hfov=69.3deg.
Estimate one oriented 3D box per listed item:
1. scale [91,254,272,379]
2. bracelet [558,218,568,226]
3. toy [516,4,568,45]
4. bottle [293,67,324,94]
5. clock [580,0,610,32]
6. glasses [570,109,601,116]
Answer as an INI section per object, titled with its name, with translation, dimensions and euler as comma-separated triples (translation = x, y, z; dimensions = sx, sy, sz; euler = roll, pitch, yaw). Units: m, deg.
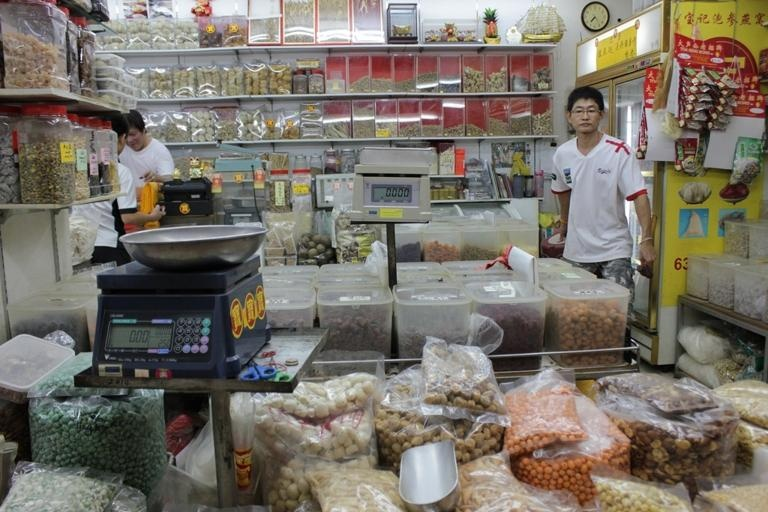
[scale]
translation = -0.682, 0.204, 1.915
dimensions = 0.597, 0.322, 0.648
euler = -6, 7, -28
[bracelet]
translation = 1.401, -0.273, 4.332
dimensions = 0.055, 0.040, 0.055
euler = 3, -1, -22
[toy]
translation = 1.828, -2.725, 6.465
dimensions = 0.522, 0.529, 0.557
euler = 2, 13, 13
[bottle]
translation = -0.858, -1.970, 6.243
dimensions = 0.459, 0.334, 0.252
euler = 0, 1, -5
[clock]
translation = 2.576, -2.894, 6.717
dimensions = 0.366, 0.352, 0.100
euler = -3, 13, -11
[glasses]
translation = 1.419, -1.025, 3.900
dimensions = 0.213, 0.070, 0.123
euler = 4, 14, 21
